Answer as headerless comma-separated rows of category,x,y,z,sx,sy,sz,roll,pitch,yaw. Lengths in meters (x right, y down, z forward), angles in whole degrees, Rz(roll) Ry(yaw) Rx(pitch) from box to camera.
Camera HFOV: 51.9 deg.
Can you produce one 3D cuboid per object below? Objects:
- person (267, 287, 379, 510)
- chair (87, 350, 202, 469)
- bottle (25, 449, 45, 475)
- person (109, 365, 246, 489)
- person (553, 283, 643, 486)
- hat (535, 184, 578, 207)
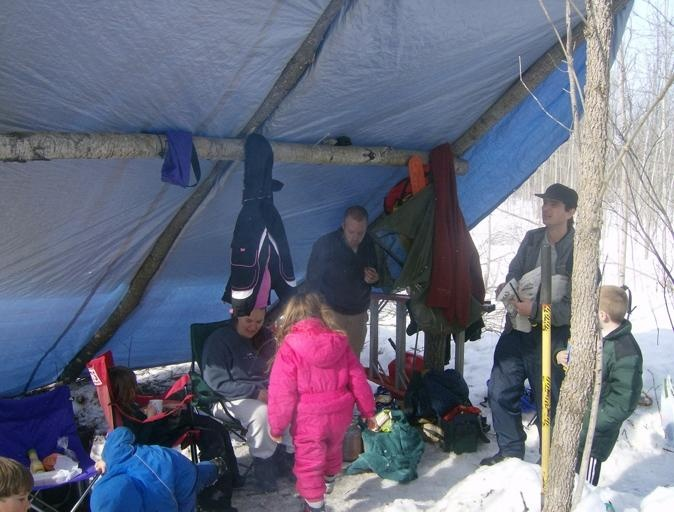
person,-0.128,1.065,5.212,0.766,1.602,0.341,-3,-3,1
chair,-1.515,1.169,5.582,0.826,1.055,0.832,-3,-10,-17
bottle,-2.254,1.533,5.172,0.081,0.083,0.220,17,18,-39
person,-1.344,1.348,5.643,0.926,1.174,0.995,-4,-8,-24
person,2.071,0.976,5.255,0.436,1.517,0.260,-4,-3,20
hat,1.823,-0.508,5.770,0.299,0.242,0.244,-4,-3,16
